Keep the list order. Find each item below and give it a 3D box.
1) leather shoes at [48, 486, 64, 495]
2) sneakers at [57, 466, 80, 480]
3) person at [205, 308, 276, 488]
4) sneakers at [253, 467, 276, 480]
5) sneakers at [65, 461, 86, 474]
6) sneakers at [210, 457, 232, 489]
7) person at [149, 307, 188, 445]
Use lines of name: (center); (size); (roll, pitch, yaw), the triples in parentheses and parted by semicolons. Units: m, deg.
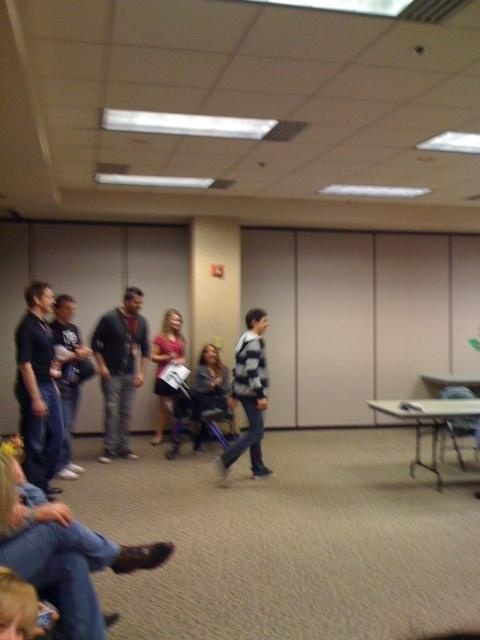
leather shoes: (-1.618, 1.485, 4.434); (0.157, 0.063, 0.051); (0, 5, -14)
sneakers: (-1.650, 1.478, 4.892); (0.204, 0.080, 0.078); (3, 6, -2)
person: (0.071, 0.708, 4.864); (0.494, 1.647, 0.750); (1, -2, 4)
sneakers: (0.240, 1.470, 4.901); (0.200, 0.080, 0.089); (-5, 6, -16)
sneakers: (-1.690, 1.494, 5.138); (0.248, 0.094, 0.087); (12, 4, 8)
sneakers: (-0.175, 1.410, 4.703); (0.153, 0.333, 0.125); (0, -4, -37)
person: (-0.873, 0.714, 6.056); (0.387, 1.676, 0.773); (1, -2, -10)
